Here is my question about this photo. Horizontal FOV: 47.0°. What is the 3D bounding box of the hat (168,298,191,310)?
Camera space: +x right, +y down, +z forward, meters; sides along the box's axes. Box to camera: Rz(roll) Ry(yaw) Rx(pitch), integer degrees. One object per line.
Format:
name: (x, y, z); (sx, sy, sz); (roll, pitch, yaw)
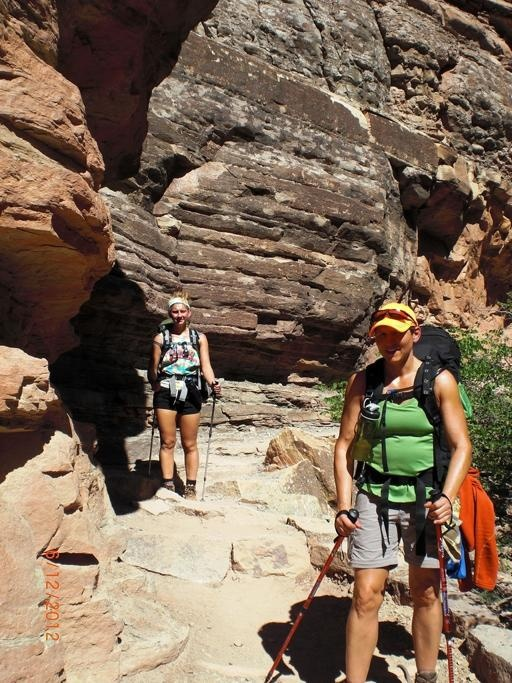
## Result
hat: (-0.670, -0.328, 5.030); (0.144, 0.065, 0.126); (6, 10, 22)

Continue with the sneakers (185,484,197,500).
sneakers: (-0.576, 1.302, 5.107); (0.068, 0.121, 0.128); (2, -36, 1)

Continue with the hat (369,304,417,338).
hat: (0.610, -0.088, 2.627); (0.144, 0.104, 0.191); (-10, -26, 23)

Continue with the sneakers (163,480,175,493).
sneakers: (-0.766, 1.255, 5.118); (0.095, 0.105, 0.102); (-11, -20, 7)

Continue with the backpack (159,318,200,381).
backpack: (-0.667, 0.086, 5.017); (0.440, 0.548, 0.333); (7, -28, -19)
